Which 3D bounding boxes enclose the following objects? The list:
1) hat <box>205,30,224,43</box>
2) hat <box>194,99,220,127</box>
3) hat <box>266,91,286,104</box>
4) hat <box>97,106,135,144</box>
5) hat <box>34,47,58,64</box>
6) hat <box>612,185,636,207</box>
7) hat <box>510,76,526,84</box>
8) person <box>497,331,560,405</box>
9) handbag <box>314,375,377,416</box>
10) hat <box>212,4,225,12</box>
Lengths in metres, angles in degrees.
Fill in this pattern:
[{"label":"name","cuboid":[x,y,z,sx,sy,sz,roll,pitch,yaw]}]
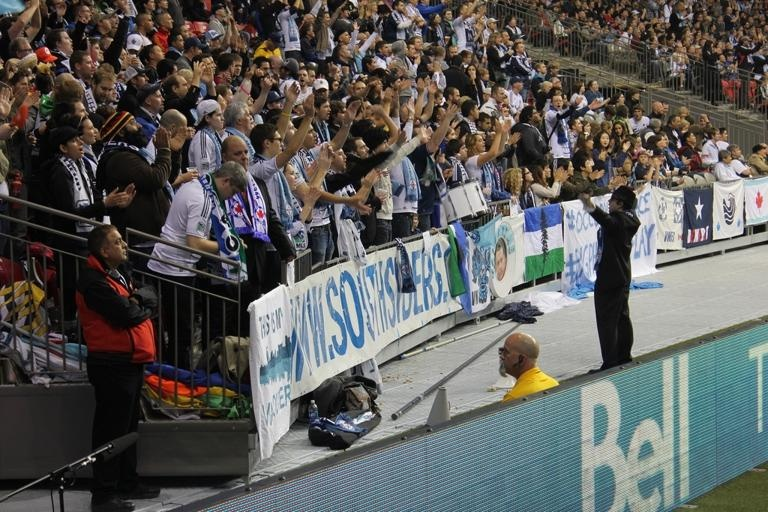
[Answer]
[{"label":"hat","cuboid":[-2.985,-3.846,24.338,0.335,0.160,0.199,-8,23,0]},{"label":"hat","cuboid":[-2.388,-1.959,18.987,0.327,0.324,0.627,-5,8,-6]},{"label":"hat","cuboid":[-1.668,-2.442,21.532,0.292,0.150,0.184,-11,16,-4]},{"label":"hat","cuboid":[-3.488,-1.684,17.985,0.431,0.228,0.344,-47,11,3]},{"label":"hat","cuboid":[-4.946,-2.928,20.347,0.340,0.165,0.224,13,32,-2]},{"label":"hat","cuboid":[3.604,-0.870,20.856,0.368,0.383,0.285,-1,9,19]},{"label":"hat","cuboid":[2.973,-3.882,30.702,0.326,0.103,0.216,-5,8,-30]},{"label":"person","cuboid":[1.729,1.345,17.174,0.798,0.729,1.098,7,11,41]},{"label":"handbag","cuboid":[-0.477,1.895,19.071,0.548,0.275,0.715,-1,3,40]},{"label":"hat","cuboid":[-2.965,-4.492,25.120,0.210,0.084,0.155,-34,15,-37]}]
